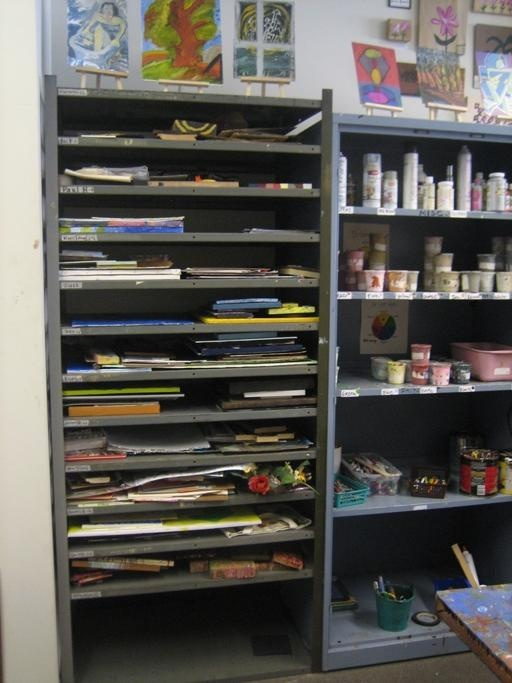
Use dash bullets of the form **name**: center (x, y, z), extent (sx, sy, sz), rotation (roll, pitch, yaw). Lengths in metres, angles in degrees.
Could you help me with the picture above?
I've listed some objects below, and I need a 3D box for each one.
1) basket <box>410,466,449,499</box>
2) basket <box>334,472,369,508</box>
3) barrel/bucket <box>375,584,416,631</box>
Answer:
- **basket**: center (0.648, 0.529, 2.376), extent (0.109, 0.074, 0.101), rotation (1, 6, 0)
- **basket**: center (0.349, 0.547, 2.295), extent (0.126, 0.074, 0.207), rotation (3, 9, 10)
- **barrel/bucket**: center (0.509, 0.977, 2.302), extent (0.145, 0.128, 0.142), rotation (4, -4, 0)
